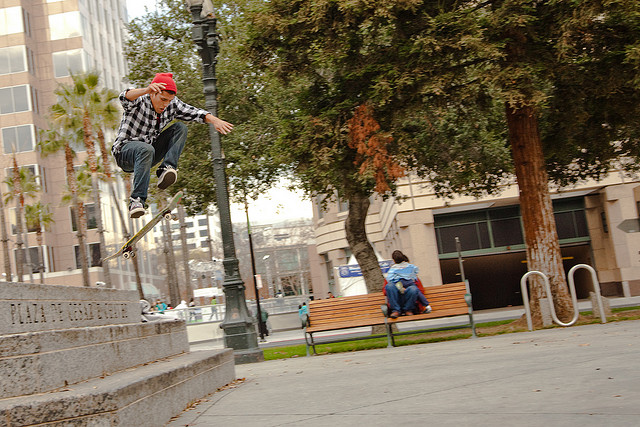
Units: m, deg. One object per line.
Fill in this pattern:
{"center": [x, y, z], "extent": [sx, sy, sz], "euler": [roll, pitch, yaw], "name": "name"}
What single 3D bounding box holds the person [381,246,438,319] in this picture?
{"center": [2.989, 2.428, 36.975], "extent": [1.483, 2.288, 0.749], "euler": [-5, 15, 7], "name": "person"}
